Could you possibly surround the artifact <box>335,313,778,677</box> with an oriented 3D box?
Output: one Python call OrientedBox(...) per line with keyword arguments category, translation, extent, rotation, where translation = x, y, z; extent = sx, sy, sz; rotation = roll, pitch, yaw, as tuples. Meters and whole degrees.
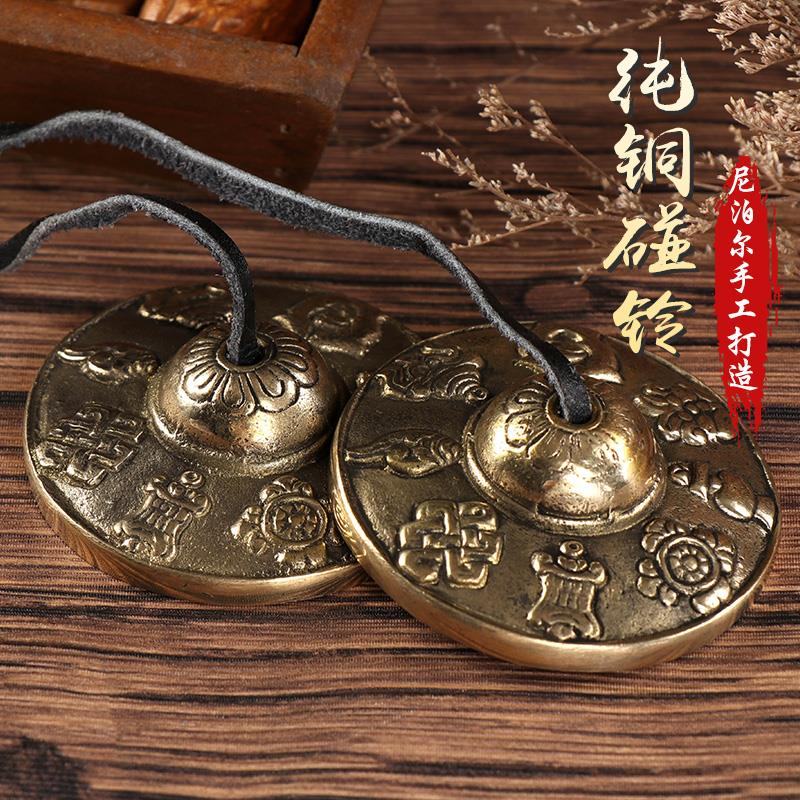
OrientedBox(category="artifact", translation=(0.097, 0.125, 1.182), extent=(0.446, 0.114, 0.377), rotation=(-24, 54, -29))
